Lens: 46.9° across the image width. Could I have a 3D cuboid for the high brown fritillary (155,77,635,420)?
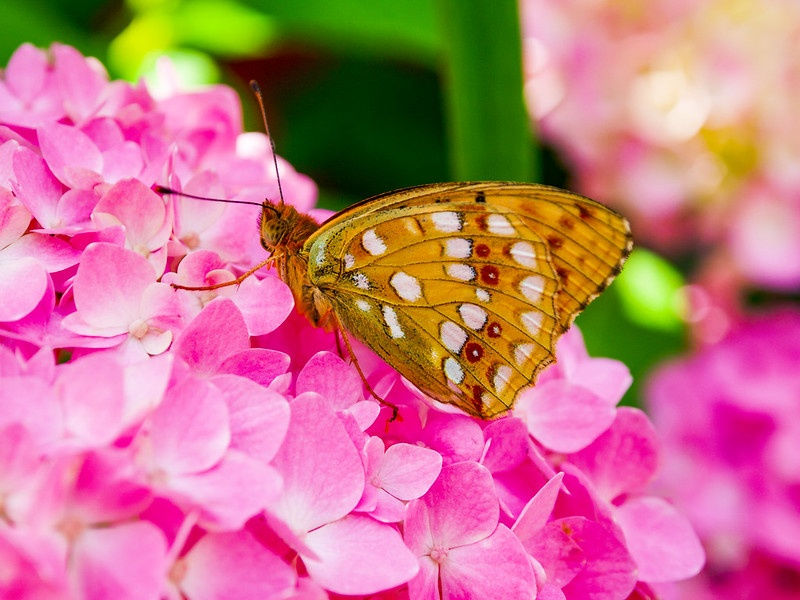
[{"bbox_3d":[-0.021,-0.053,1.168,0.516,0.251,0.319,34,74,-7],"label":"high brown fritillary"}]
